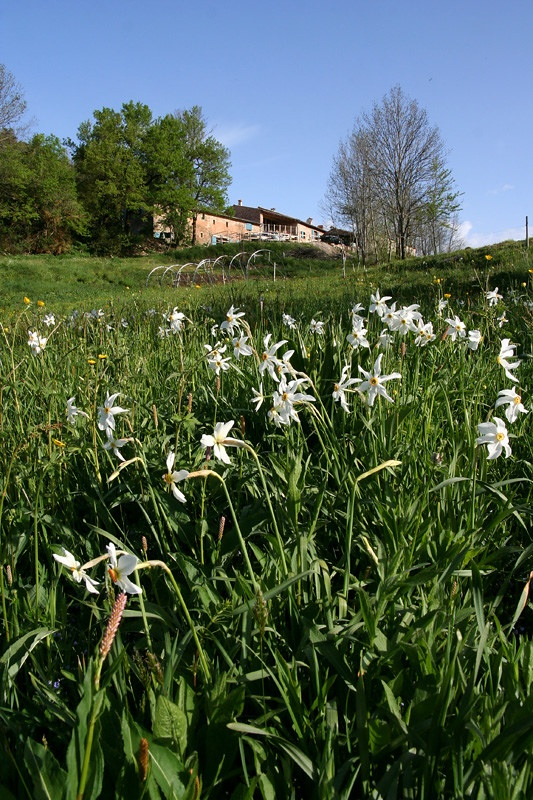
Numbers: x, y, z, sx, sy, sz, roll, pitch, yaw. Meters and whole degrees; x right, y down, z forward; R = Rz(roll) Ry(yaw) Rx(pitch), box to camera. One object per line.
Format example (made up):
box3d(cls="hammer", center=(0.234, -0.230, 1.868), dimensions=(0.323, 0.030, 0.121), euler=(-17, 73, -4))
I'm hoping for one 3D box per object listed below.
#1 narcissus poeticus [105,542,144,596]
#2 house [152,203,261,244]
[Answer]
box3d(cls="narcissus poeticus", center=(-0.206, 0.228, 0.697), dimensions=(0.055, 0.068, 0.032), euler=(-3, 49, -16))
box3d(cls="house", center=(-6.148, -19.285, 57.188), dimensions=(2.888, 4.226, 20.972), euler=(3, 12, 23))
